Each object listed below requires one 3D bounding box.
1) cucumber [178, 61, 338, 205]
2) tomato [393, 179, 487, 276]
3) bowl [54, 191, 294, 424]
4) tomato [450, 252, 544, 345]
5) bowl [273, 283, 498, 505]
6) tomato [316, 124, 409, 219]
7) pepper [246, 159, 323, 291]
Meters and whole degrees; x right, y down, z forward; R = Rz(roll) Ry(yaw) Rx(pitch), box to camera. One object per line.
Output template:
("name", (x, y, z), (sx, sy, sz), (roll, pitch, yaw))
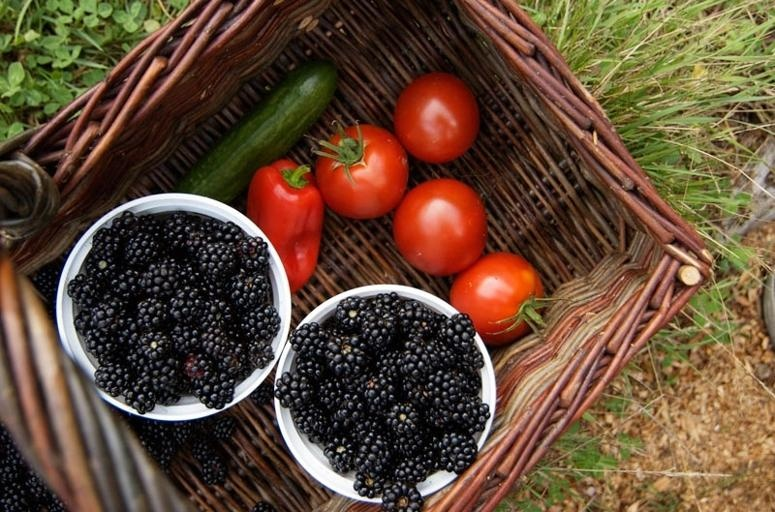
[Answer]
("cucumber", (-0.421, -0.389, 2.546), (0.121, 0.143, 0.482), (42, 95, 5))
("tomato", (0.167, -0.125, 2.661), (0.266, 0.286, 0.300), (-1, 108, -28))
("bowl", (-0.621, 0.103, 2.398), (0.610, 0.256, 0.714), (-25, 91, -13))
("tomato", (0.328, 0.121, 2.562), (0.323, 0.272, 0.301), (-2, 38, 0))
("bowl", (-0.006, 0.406, 2.340), (0.636, 0.207, 0.608), (0, 79, -2))
("tomato", (-0.065, -0.247, 2.633), (0.258, 0.294, 0.301), (-26, 74, 11))
("pepper", (-0.328, -0.126, 2.619), (0.219, 0.463, 0.210), (-11, 38, -19))
